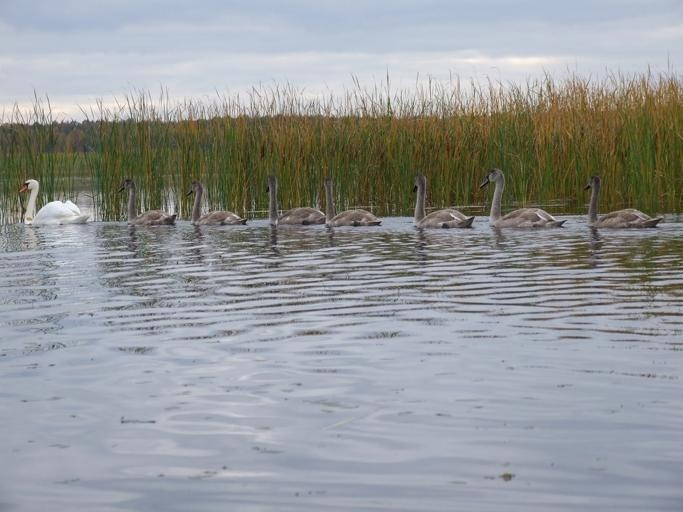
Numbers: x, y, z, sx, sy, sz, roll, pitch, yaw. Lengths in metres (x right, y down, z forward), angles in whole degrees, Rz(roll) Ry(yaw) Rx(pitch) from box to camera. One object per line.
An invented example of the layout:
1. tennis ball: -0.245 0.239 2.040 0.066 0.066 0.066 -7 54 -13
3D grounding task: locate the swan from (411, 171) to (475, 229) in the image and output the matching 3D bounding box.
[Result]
1. swan: 2.403 -1.175 22.880 0.723 1.318 1.944 -10 11 -42

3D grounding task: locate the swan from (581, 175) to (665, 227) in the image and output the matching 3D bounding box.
1. swan: 5.967 -1.027 21.298 1.668 1.314 0.597 2 4 32

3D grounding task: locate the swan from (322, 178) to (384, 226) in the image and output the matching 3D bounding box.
1. swan: 0.277 -1.205 23.754 1.493 1.450 0.612 -1 0 27

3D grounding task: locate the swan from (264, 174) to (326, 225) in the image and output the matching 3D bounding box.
1. swan: -1.354 -1.378 25.141 0.942 1.084 2.466 -8 14 -28

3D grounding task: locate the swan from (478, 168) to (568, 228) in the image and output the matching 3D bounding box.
1. swan: 3.995 -1.198 22.711 2.510 1.699 0.960 4 4 34
